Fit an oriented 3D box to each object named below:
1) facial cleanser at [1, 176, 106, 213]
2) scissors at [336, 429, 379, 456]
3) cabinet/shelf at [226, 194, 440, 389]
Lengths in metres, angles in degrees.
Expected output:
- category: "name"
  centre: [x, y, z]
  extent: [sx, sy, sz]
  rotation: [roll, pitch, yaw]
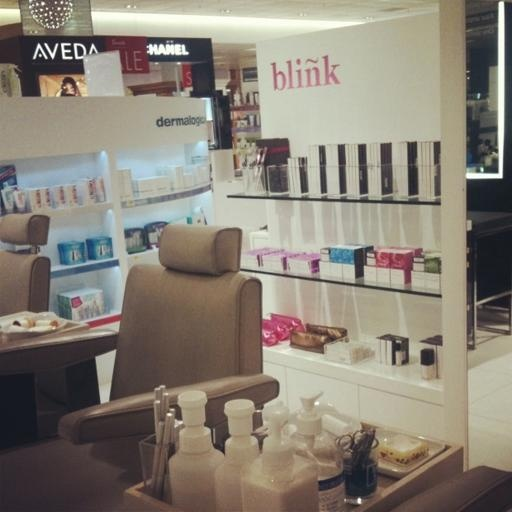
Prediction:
- category: "facial cleanser"
  centre: [-1.440, -0.422, 3.701]
  extent: [0.700, 0.252, 0.246]
  rotation: [-14, 23, -39]
- category: "scissors"
  centre: [0.209, 0.379, 1.054]
  extent: [0.065, 0.027, 0.053]
  rotation: [-17, -11, 40]
- category: "cabinet/shelf"
  centre: [0.466, 0.200, 2.760]
  extent: [1.154, 0.629, 0.171]
  rotation: [5, 10, 42]
